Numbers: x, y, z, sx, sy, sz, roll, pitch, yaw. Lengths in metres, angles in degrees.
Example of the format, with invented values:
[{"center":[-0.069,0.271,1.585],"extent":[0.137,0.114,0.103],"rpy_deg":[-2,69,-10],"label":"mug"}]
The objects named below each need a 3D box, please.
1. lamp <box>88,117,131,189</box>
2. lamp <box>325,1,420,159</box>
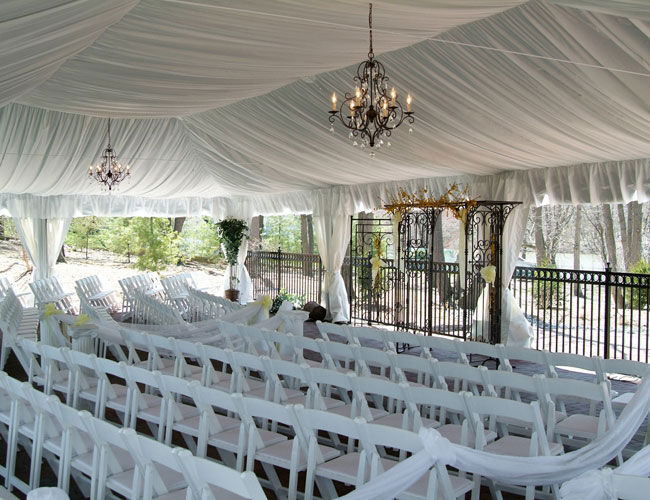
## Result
[{"center":[-3.921,-1.837,9.885],"extent":[0.626,1.533,0.664],"rpy_deg":[1,6,-3],"label":"lamp"},{"center":[0.522,-1.858,5.862],"extent":[0.927,2.006,0.944],"rpy_deg":[4,-10,-20],"label":"lamp"}]
